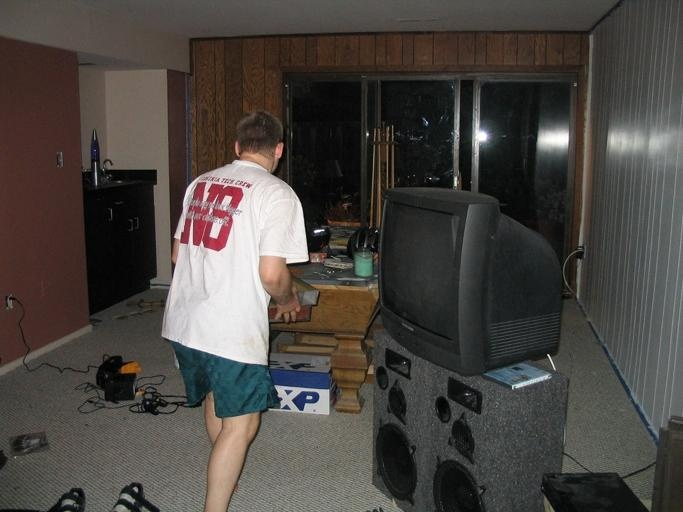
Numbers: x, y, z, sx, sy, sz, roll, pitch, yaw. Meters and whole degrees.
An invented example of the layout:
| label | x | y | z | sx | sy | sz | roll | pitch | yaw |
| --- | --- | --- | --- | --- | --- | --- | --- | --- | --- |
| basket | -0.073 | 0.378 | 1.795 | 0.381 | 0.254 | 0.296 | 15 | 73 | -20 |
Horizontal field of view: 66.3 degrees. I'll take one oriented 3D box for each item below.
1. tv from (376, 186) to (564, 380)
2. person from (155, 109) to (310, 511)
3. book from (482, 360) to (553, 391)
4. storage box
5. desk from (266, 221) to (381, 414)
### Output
| label | x | y | z | sx | sy | sz | roll | pitch | yaw |
| --- | --- | --- | --- | --- | --- | --- | --- | --- | --- |
| tv | 0.563 | 0.001 | 2.307 | 0.665 | 0.715 | 0.702 | -5 | 11 | -31 |
| person | -0.466 | 0.303 | 2.316 | 0.601 | 1.419 | 0.531 | -4 | 12 | -22 |
| book | 0.668 | 0.459 | 1.986 | 0.264 | 0.035 | 0.128 | -7 | 14 | -28 |
| storage box | -0.228 | 0.802 | 3.458 | 0.515 | 0.279 | 0.406 | 6 | 26 | 7 |
| desk | -0.021 | 0.473 | 3.293 | 0.720 | 0.570 | 1.130 | 1 | 4 | 13 |
